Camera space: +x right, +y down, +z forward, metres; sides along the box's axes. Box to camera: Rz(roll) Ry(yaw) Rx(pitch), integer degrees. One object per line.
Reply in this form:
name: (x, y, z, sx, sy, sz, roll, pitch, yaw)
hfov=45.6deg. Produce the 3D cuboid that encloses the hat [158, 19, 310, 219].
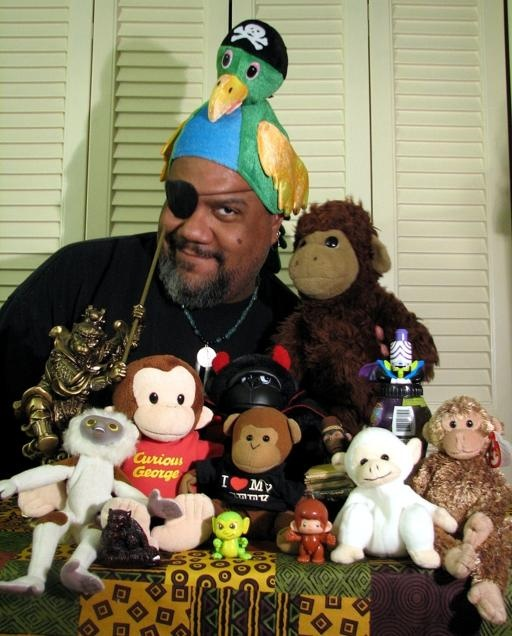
hat: (-0.031, -0.406, 1.222, 0.238, 0.364, 0.215, 0, 28, -24)
